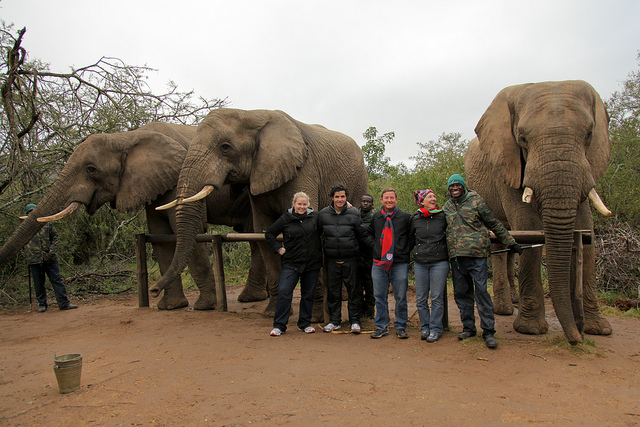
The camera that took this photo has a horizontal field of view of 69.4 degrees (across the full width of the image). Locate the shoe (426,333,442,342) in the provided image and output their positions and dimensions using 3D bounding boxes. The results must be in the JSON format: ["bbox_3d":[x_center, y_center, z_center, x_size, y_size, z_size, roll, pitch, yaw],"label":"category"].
[{"bbox_3d":[1.775,1.962,7.240,0.212,0.093,0.077,5,33,-32],"label":"shoe"}]

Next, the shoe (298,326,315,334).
[{"bbox_3d":[-0.188,1.993,7.846,0.076,0.085,0.192,6,-10,-41],"label":"shoe"}]

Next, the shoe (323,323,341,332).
[{"bbox_3d":[0.196,1.958,7.879,0.298,0.126,0.107,8,-15,-35],"label":"shoe"}]

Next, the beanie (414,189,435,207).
[{"bbox_3d":[1.689,-0.271,7.636,0.242,0.268,0.532,-1,10,9],"label":"beanie"}]

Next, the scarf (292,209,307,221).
[{"bbox_3d":[-0.351,0.013,7.745,0.158,0.087,0.195,-1,-23,-2],"label":"scarf"}]

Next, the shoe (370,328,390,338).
[{"bbox_3d":[0.959,1.971,7.538,0.284,0.121,0.108,8,-14,-43],"label":"shoe"}]

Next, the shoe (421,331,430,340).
[{"bbox_3d":[1.672,1.951,7.352,0.083,0.106,0.250,-6,-14,21],"label":"shoe"}]

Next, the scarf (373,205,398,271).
[{"bbox_3d":[1.056,0.381,7.506,0.354,1.001,0.372,1,10,17],"label":"scarf"}]

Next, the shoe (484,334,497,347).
[{"bbox_3d":[2.571,1.924,6.974,0.177,0.157,0.172,0,10,13],"label":"shoe"}]

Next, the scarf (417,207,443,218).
[{"bbox_3d":[1.735,-0.011,7.374,0.231,0.115,0.191,-5,-2,26],"label":"scarf"}]

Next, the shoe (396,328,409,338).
[{"bbox_3d":[1.340,1.956,7.491,0.180,0.147,0.110,-1,10,8],"label":"shoe"}]

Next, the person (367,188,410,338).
[{"bbox_3d":[1.142,0.824,7.577,0.641,2.453,0.641,-1,10,7],"label":"person"}]

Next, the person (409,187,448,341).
[{"bbox_3d":[1.677,0.815,7.396,0.614,2.321,0.600,6,13,40],"label":"person"}]

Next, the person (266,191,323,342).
[{"bbox_3d":[-0.385,0.878,7.754,1.020,2.407,0.706,-5,10,-14],"label":"person"}]

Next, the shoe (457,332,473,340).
[{"bbox_3d":[2.251,1.925,7.236,0.185,0.083,0.084,7,-14,-32],"label":"shoe"}]

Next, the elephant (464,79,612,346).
[{"bbox_3d":[3.611,-0.003,7.639,1.414,4.229,2.786,-4,10,-10],"label":"elephant"}]

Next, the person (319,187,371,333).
[{"bbox_3d":[0.425,0.795,7.938,0.865,2.478,0.772,-4,10,-6],"label":"person"}]

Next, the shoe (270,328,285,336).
[{"bbox_3d":[-0.738,1.971,7.619,0.071,0.086,0.201,-8,-18,24],"label":"shoe"}]

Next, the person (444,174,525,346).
[{"bbox_3d":[2.415,0.744,7.120,1.022,2.624,0.740,1,11,19],"label":"person"}]

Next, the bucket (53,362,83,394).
[{"bbox_3d":[-3.384,2.217,6.260,0.397,0.397,0.414,-8,-14,-2],"label":"bucket"}]

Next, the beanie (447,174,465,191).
[{"bbox_3d":[2.153,-0.519,7.363,0.228,0.196,0.238,0,-17,8],"label":"beanie"}]
